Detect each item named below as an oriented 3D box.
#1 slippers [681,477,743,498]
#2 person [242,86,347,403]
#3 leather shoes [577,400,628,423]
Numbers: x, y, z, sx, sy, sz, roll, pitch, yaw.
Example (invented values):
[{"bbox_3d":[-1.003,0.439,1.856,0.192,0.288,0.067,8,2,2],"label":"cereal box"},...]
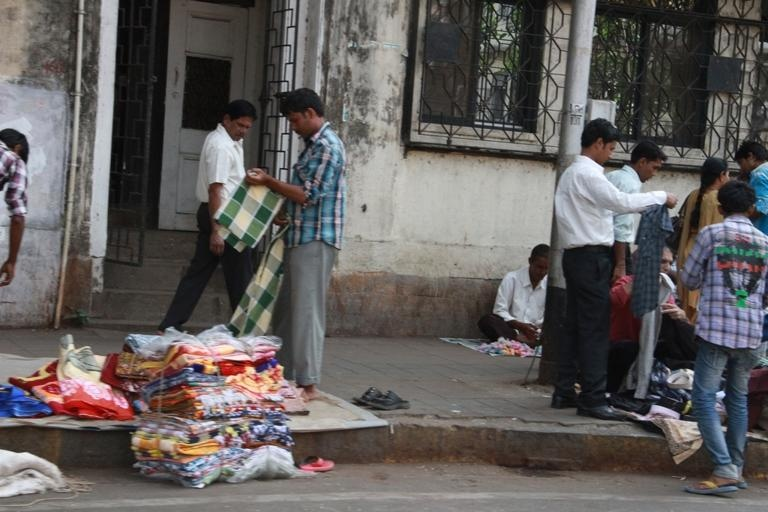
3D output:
[{"bbox_3d":[3.068,2.157,11.455,0.509,0.116,0.185,2,-5,-3],"label":"slippers"},{"bbox_3d":[-0.812,-0.111,11.969,0.685,2.986,0.453,7,5,18],"label":"person"},{"bbox_3d":[2.188,1.565,12.324,0.514,0.133,0.169,6,1,9],"label":"leather shoes"}]
